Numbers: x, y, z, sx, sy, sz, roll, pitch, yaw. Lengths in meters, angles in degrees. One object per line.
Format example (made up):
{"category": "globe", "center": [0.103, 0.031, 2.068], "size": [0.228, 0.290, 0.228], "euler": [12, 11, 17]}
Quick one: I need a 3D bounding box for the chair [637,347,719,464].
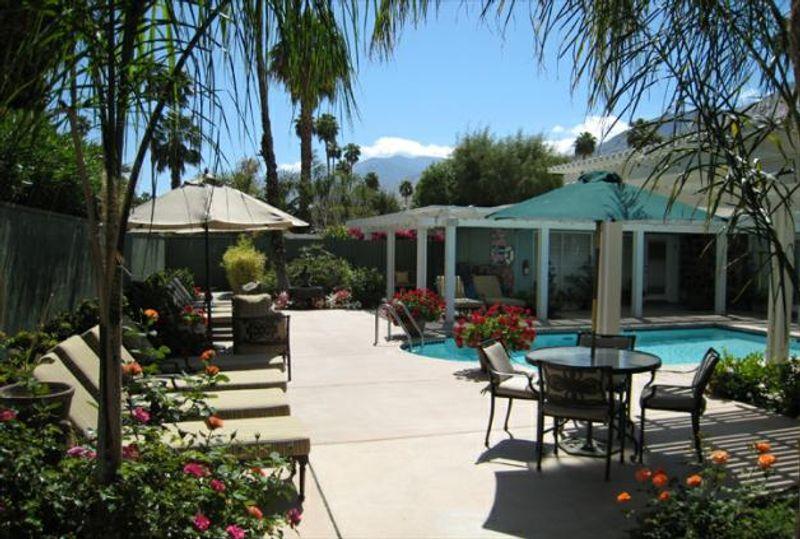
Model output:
{"category": "chair", "center": [2.630, 1.244, 5.888], "size": [0.696, 1.008, 0.764], "euler": [-5, 7, -43]}

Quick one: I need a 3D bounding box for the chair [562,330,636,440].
{"category": "chair", "center": [2.164, 1.461, 6.893], "size": [0.612, 1.081, 0.744], "euler": [-3, 25, 45]}

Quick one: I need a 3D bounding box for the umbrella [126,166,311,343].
{"category": "umbrella", "center": [-2.605, -0.250, 8.184], "size": [1.962, 1.612, 2.060], "euler": [-5, 5, -34]}

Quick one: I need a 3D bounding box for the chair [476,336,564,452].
{"category": "chair", "center": [1.198, 1.273, 6.305], "size": [0.631, 1.001, 0.678], "euler": [-1, 1, 24]}

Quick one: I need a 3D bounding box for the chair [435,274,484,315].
{"category": "chair", "center": [1.597, 0.658, 15.972], "size": [0.705, 1.059, 1.347], "euler": [-1, -1, -19]}

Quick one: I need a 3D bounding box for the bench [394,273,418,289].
{"category": "bench", "center": [0.141, 0.284, 19.298], "size": [0.636, 0.356, 1.162], "euler": [-1, -1, 18]}

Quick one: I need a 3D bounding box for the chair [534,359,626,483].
{"category": "chair", "center": [1.631, 1.239, 5.650], "size": [0.630, 1.114, 0.783], "euler": [3, 15, 27]}

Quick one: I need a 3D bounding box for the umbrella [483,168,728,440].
{"category": "umbrella", "center": [2.455, -0.185, 7.481], "size": [2.539, 2.153, 2.614], "euler": [3, 4, 27]}

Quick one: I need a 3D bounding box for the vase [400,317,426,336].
{"category": "vase", "center": [0.302, 1.102, 11.868], "size": [0.359, 0.280, 0.352], "euler": [-1, 0, 26]}
